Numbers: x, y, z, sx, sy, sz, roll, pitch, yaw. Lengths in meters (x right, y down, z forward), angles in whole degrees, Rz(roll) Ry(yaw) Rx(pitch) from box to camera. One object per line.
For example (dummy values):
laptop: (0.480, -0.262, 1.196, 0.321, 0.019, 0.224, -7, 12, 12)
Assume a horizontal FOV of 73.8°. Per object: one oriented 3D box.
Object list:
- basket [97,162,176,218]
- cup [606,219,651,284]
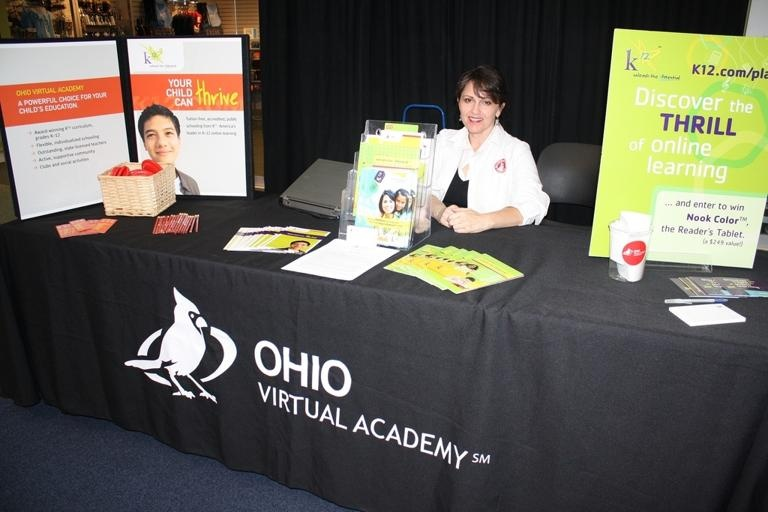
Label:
basket: (-1.214, -0.341, 2.555, 0.310, 0.202, 0.328, -6, 23, -18)
cup: (0.953, -0.016, 1.987, 0.136, 0.219, 0.144, -4, 14, 1)
